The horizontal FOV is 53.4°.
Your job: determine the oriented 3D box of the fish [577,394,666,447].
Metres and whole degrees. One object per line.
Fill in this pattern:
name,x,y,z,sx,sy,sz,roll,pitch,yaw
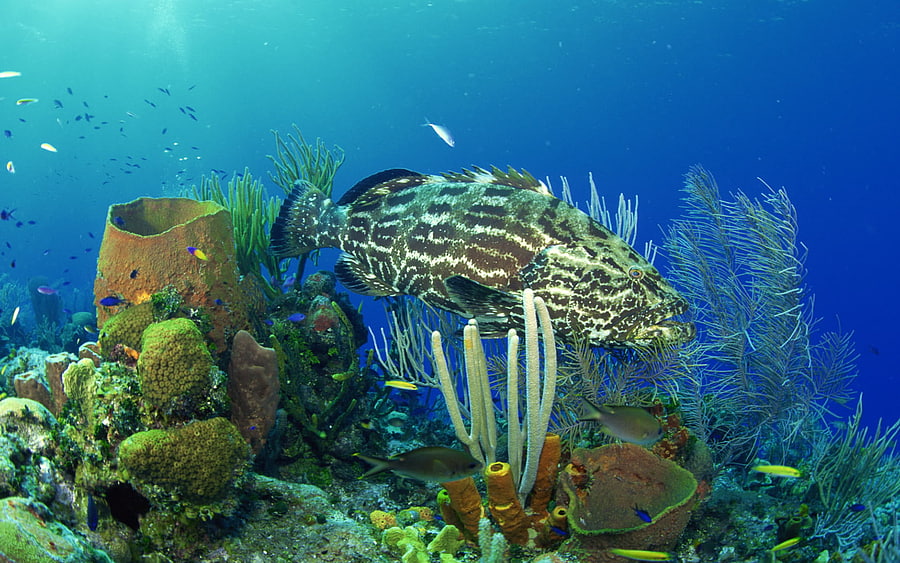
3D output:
fish,7.530,6.033,38.598,3.166,2.130,0.705,-3,26,8

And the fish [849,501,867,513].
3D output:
fish,18.090,9.981,39.682,0.413,0.169,0.457,13,-30,-28
